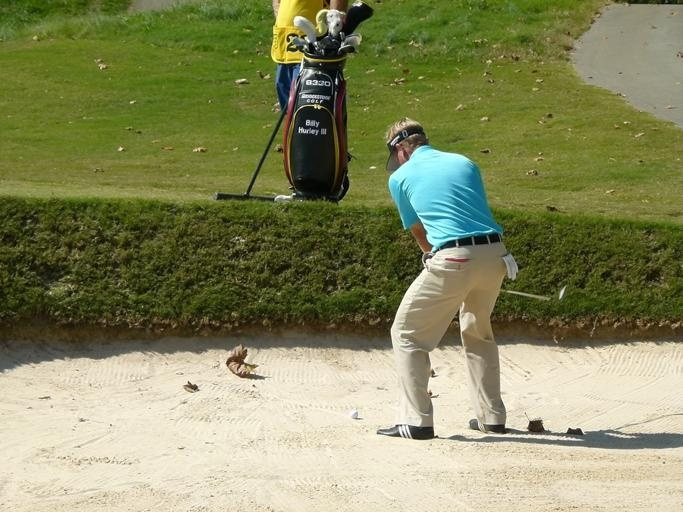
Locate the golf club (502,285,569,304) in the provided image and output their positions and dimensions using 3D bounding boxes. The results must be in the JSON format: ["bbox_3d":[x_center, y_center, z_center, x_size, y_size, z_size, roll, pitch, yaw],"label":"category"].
[{"bbox_3d":[2.715,0.551,20.654,0.913,0.336,0.087,8,36,27],"label":"golf club"}]

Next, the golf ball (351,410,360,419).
[{"bbox_3d":[0.209,2.187,20.143,0.104,0.084,0.102,-1,-5,0],"label":"golf ball"}]

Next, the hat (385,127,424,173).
[{"bbox_3d":[0.870,-1.473,19.876,0.514,0.593,0.344,2,35,-40],"label":"hat"}]

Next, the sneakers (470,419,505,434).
[{"bbox_3d":[1.964,2.316,19.899,0.520,0.172,0.173,0,3,36],"label":"sneakers"}]
